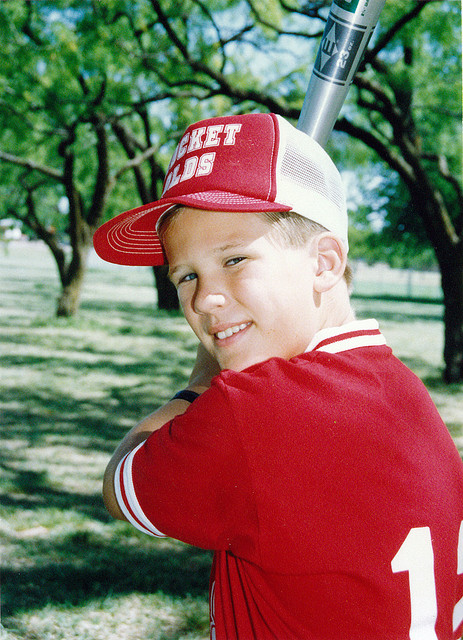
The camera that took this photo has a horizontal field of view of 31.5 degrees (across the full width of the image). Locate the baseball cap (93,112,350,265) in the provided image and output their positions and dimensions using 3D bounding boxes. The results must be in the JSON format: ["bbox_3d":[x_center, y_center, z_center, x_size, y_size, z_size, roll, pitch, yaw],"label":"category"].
[{"bbox_3d":[0.001,-0.281,1.813,0.586,0.259,0.419,5,-13,-32],"label":"baseball cap"}]
